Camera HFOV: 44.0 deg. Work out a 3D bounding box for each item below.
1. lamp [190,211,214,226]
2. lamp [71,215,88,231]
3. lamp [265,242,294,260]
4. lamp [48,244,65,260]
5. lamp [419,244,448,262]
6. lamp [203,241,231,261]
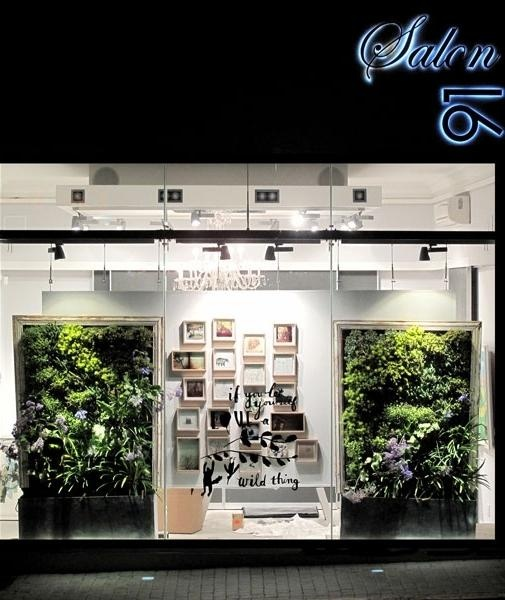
[{"bbox_3d":[-0.316,-0.500,3.877,0.087,0.070,0.115,7,8,37],"label":"lamp"},{"bbox_3d":[-1.058,-0.475,3.830,0.083,0.095,0.123,-3,6,-2],"label":"lamp"},{"bbox_3d":[0.174,-0.304,3.916,0.165,0.087,0.246,1,-7,-11],"label":"lamp"},{"bbox_3d":[-1.243,-0.307,3.966,0.092,0.084,0.090,-5,-8,32],"label":"lamp"},{"bbox_3d":[1.164,-0.308,4.069,0.223,0.097,0.183,5,-8,-34],"label":"lamp"},{"bbox_3d":[-0.228,-0.300,3.926,0.160,0.087,0.256,0,-7,2],"label":"lamp"}]
